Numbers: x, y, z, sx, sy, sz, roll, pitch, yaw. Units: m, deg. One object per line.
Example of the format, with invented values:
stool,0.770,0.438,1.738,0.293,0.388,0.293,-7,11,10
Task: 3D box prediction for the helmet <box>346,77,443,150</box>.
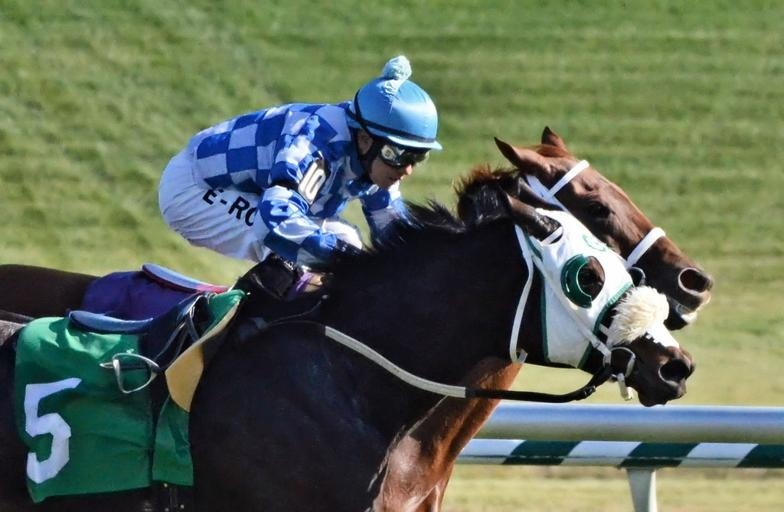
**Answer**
helmet,0.038,-1.039,11.004,0.619,0.304,0.453,23,31,23
